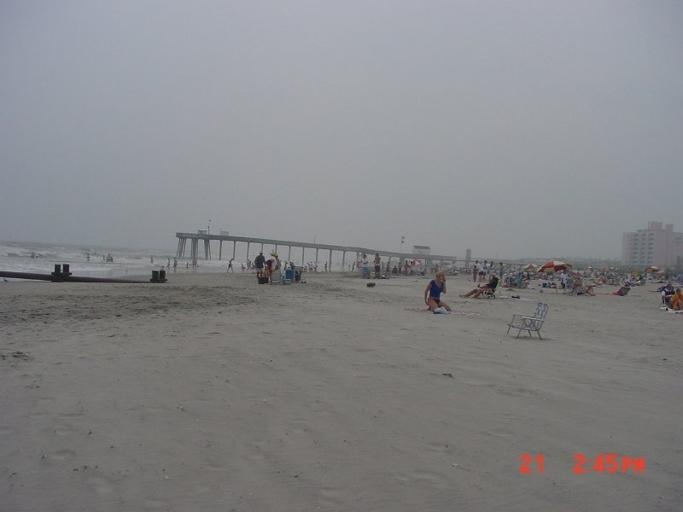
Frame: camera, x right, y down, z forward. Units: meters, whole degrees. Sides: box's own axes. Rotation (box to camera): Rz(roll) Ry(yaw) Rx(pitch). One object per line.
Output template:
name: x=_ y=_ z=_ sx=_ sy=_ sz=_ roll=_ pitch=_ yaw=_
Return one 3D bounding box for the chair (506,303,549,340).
chair: x=4.156 y=1.395 z=11.231 sx=0.664 sy=0.693 sz=0.593 roll=-4 pitch=7 yaw=17

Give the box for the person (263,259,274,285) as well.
person: x=-3.384 y=0.674 z=24.186 sx=0.380 sy=1.050 sz=1.168 roll=0 pitch=12 yaw=-8

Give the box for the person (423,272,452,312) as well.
person: x=2.633 y=0.928 z=13.997 sx=0.598 sy=1.197 sz=1.140 roll=3 pitch=11 yaw=7
